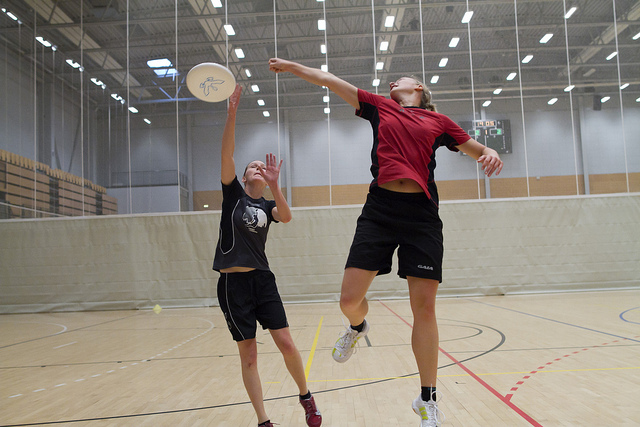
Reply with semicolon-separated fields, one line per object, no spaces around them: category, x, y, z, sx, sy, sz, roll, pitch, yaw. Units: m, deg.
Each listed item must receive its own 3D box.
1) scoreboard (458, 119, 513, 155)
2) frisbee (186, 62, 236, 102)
scoreboard;4.142;-1.996;12.151;1.220;0.931;0.126;7;38;33
frisbee;-1.278;-1.534;5.643;0.465;0.499;0.079;-17;21;2
